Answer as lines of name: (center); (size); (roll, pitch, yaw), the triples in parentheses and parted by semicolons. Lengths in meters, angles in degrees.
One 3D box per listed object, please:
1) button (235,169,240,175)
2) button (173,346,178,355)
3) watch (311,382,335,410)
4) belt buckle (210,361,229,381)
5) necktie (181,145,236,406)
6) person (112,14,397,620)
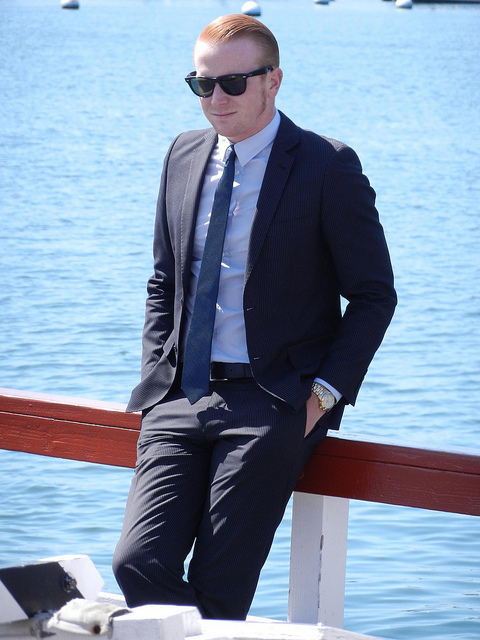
button: (-0.009, -0.498, 5.117); (0.021, 0.018, 0.005); (0, -7, 8)
button: (-0.216, 0.096, 5.153); (0.006, 0.022, 0.014); (-2, 2, -40)
watch: (0.262, 0.242, 5.012); (0.049, 0.073, 0.068); (-38, 33, -21)
belt buckle: (-0.066, 0.163, 5.040); (0.074, 0.064, 0.018); (0, 1, 0)
necktie: (-0.085, -0.148, 5.098); (0.116, 0.862, 0.048); (10, 0, 8)
person: (-0.003, -0.033, 4.957); (0.873, 1.851, 0.840); (13, 14, 15)
